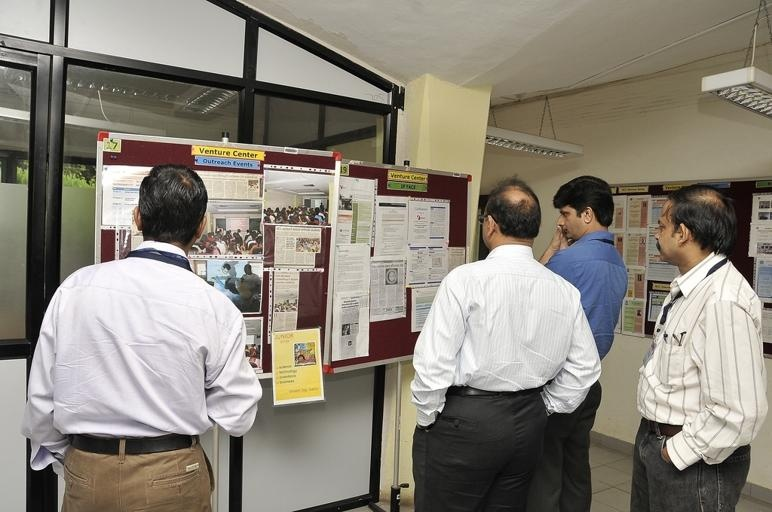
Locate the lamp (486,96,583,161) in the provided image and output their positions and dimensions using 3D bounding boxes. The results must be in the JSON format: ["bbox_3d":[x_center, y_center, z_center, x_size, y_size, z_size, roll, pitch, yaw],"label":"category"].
[{"bbox_3d":[1.269,-1.306,5.416,1.202,0.528,0.382,7,-1,-11],"label":"lamp"}]
